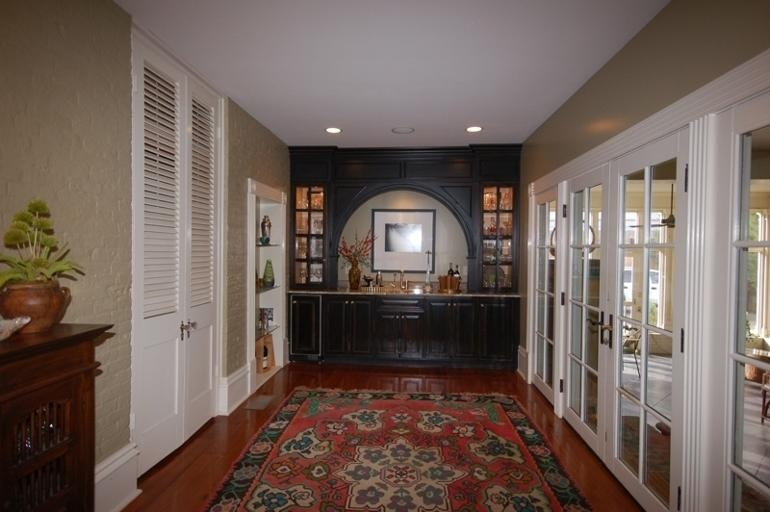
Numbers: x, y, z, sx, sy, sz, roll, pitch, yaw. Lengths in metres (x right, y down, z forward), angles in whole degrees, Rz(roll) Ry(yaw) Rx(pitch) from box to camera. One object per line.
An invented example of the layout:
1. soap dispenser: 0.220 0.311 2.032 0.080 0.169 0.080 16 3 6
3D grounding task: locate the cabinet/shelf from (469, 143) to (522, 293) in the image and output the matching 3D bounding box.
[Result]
1. cabinet/shelf: 1.473 -0.499 6.731 0.728 1.981 0.292 2 8 8

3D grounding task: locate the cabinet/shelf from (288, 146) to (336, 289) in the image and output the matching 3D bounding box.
1. cabinet/shelf: -0.952 -0.520 6.952 0.733 1.952 0.342 -1 8 -8

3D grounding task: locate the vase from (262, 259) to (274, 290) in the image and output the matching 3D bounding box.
1. vase: -1.486 0.236 6.295 0.132 0.329 0.223 -2 9 -14

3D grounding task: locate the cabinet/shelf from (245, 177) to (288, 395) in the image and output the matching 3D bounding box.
1. cabinet/shelf: -1.445 0.289 6.225 0.378 2.458 1.401 -1 8 -8

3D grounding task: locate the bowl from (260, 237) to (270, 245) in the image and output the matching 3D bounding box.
1. bowl: -1.504 -0.174 6.223 0.084 0.070 0.095 -1 -8 3

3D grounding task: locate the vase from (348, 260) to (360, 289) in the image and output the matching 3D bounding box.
1. vase: -0.432 0.280 7.026 0.152 0.389 0.318 -1 8 -11

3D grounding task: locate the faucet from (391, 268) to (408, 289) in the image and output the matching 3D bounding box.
1. faucet: 0.232 0.351 7.349 0.272 0.277 0.141 0 -10 9

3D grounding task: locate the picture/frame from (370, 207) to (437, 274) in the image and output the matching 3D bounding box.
1. picture/frame: 0.321 -0.249 7.394 0.968 0.948 0.049 0 -2 2

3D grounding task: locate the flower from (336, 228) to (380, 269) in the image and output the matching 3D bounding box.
1. flower: -0.395 -0.112 7.383 0.532 0.618 0.530 -1 -2 29
